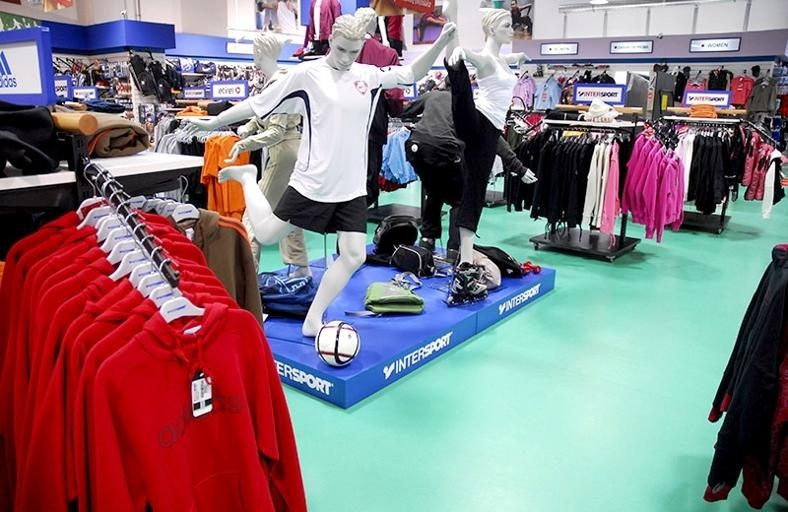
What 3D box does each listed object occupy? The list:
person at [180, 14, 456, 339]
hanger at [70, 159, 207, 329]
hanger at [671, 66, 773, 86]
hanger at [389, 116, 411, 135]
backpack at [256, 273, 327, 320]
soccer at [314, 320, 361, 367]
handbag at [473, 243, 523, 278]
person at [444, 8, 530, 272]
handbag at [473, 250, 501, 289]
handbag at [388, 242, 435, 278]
[{"bbox_3d":[-0.416,-0.471,3.362,1.248,2.209,0.318,-1,18,-6],"label":"person"},{"bbox_3d":[-0.960,-0.041,1.742,0.169,0.639,0.211,-31,-11,-31],"label":"hanger"},{"bbox_3d":[9.088,-4.887,12.902,1.914,0.608,0.684,12,21,31],"label":"hanger"},{"bbox_3d":[0.068,-1.810,6.641,0.464,0.216,0.601,-1,21,-2],"label":"hanger"},{"bbox_3d":[-0.891,0.324,3.957,0.422,0.148,0.333,11,13,32],"label":"backpack"},{"bbox_3d":[-0.396,0.579,3.287,0.282,0.283,0.281,-2,7,-17],"label":"soccer"},{"bbox_3d":[1.060,0.113,4.785,0.389,0.158,0.348,13,12,-29],"label":"handbag"},{"bbox_3d":[0.733,-1.031,4.244,0.499,2.281,1.106,9,20,25],"label":"person"},{"bbox_3d":[0.849,0.148,4.542,0.114,0.328,0.264,-21,-10,28],"label":"handbag"},{"bbox_3d":[0.161,0.038,4.848,0.428,0.226,0.255,23,30,32],"label":"handbag"}]
